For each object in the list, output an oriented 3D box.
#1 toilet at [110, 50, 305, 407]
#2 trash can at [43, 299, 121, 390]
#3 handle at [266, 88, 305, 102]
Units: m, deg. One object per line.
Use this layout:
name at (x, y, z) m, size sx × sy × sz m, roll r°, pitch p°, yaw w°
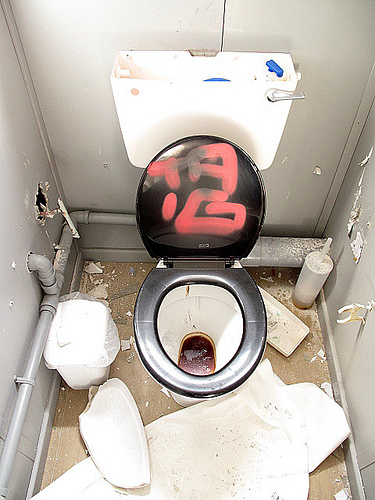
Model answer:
toilet at (0.091, -0.009, 1.111) m, size 0.527 × 0.840 × 0.764 m, roll -5°, pitch 49°, yaw -6°
trash can at (-0.323, 0.301, 1.317) m, size 0.240 × 0.282 × 0.296 m, roll -1°, pitch 57°, yaw -5°
handle at (0.247, -0.383, 0.942) m, size 0.098 × 0.046 × 0.025 m, roll -1°, pitch 14°, yaw 10°
